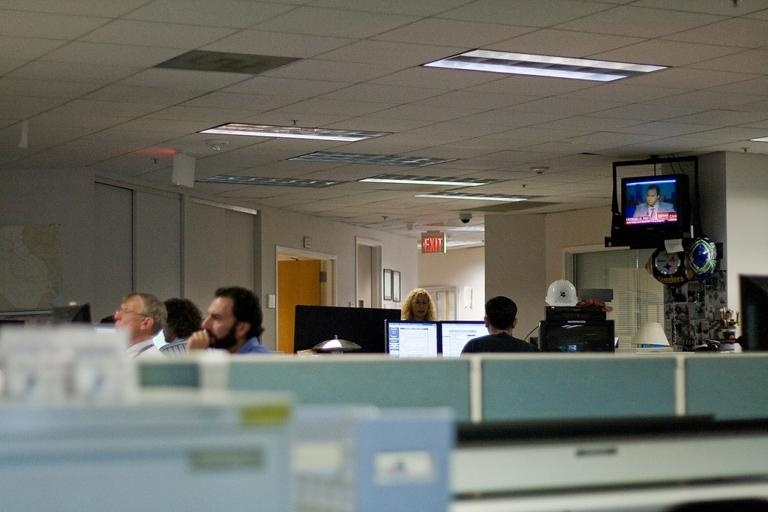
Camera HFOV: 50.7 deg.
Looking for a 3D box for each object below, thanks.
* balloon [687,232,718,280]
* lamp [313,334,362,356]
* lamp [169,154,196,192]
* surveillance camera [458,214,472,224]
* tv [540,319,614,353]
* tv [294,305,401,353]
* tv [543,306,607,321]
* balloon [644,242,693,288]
[{"bbox_3d":[3.412,-0.006,8.610,0.315,0.428,0.149,2,7,38],"label":"balloon"},{"bbox_3d":[-0.416,0.678,6.316,0.322,0.125,0.573,-1,-5,15],"label":"lamp"},{"bbox_3d":[-2.131,-0.935,8.676,0.280,0.338,0.219,4,-6,-36],"label":"lamp"},{"bbox_3d":[1.402,-0.639,13.882,0.160,0.155,0.156,0,-2,-5],"label":"surveillance camera"},{"bbox_3d":[1.666,0.676,6.954,0.647,0.260,0.323,0,-5,3],"label":"tv"},{"bbox_3d":[-0.335,0.571,6.528,0.713,0.432,0.160,-2,1,-23],"label":"tv"},{"bbox_3d":[1.667,0.497,7.066,0.535,0.135,0.230,0,-5,1],"label":"tv"},{"bbox_3d":[3.092,0.084,8.749,0.447,0.426,0.411,-1,-5,15],"label":"balloon"}]
